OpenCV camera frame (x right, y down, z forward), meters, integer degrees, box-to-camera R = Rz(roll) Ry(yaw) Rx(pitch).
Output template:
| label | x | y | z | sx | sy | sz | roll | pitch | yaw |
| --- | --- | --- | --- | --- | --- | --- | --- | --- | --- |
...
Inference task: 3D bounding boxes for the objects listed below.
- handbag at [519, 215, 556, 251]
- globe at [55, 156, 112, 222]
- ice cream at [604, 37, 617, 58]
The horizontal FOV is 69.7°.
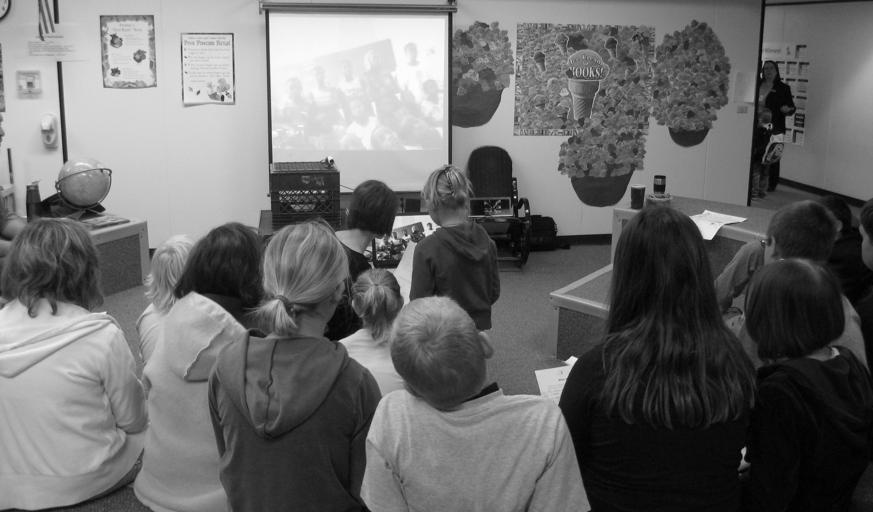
| label | x | y | z | sx | sy | sz | roll | pitch | yaw |
| --- | --- | --- | --- | --- | --- | --- | --- | --- | --- |
| handbag | 1.235 | -0.282 | 7.597 | 0.438 | 0.401 | 0.429 | -1 | 1 | -8 |
| globe | -3.416 | -0.683 | 6.135 | 0.593 | 0.559 | 0.545 | 0 | 7 | -28 |
| ice cream | 2.077 | -2.528 | 7.613 | 0.146 | 0.221 | 0.110 | -9 | 10 | -7 |
